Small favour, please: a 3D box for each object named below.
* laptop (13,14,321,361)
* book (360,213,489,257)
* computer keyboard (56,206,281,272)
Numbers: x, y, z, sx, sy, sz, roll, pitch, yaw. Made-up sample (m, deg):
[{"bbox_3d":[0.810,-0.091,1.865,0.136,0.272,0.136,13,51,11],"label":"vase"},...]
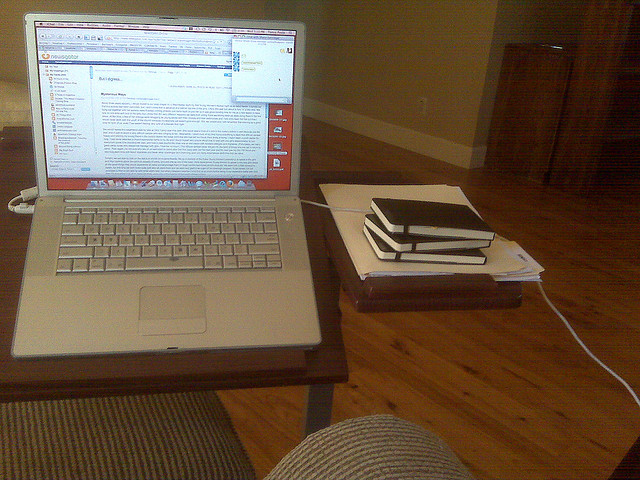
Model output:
[{"bbox_3d":[-0.247,-0.102,0.844,0.470,0.501,0.408,-2,27,-3],"label":"laptop"},{"bbox_3d":[0.172,-0.008,0.926,0.238,0.061,0.120,5,23,13],"label":"book"},{"bbox_3d":[-0.260,0.004,0.896,0.461,0.101,0.022,-1,-1,19],"label":"computer keyboard"}]
